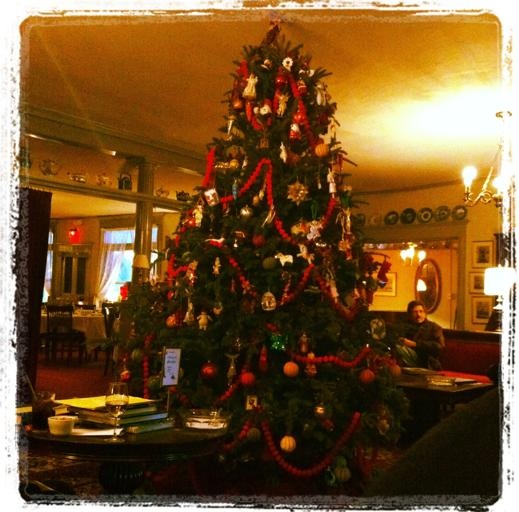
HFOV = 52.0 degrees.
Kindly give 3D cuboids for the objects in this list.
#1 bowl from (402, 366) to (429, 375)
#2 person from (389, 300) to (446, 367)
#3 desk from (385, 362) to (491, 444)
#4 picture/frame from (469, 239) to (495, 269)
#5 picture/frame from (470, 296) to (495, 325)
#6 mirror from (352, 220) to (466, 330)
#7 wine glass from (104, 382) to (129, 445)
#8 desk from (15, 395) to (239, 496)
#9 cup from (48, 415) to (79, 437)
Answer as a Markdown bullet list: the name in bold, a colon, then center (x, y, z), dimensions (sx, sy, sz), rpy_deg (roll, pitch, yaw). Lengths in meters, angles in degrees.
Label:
- **bowl**: center (1.299, 0.984, 4.561), dimensions (0.265, 0.075, 0.075), rpy_deg (2, 2, 12)
- **person**: center (1.605, 0.821, 5.443), dimensions (0.506, 0.712, 0.437), rpy_deg (-6, 7, 1)
- **desk**: center (1.508, 1.258, 4.407), dimensions (0.678, 0.585, 1.412), rpy_deg (1, -6, 20)
- **picture/frame**: center (3.545, -0.037, 8.487), dimensions (0.040, 0.544, 0.476), rpy_deg (8, -8, -37)
- **picture/frame**: center (3.523, 0.863, 8.425), dimensions (0.107, 0.467, 0.435), rpy_deg (6, -6, -20)
- **mirror**: center (2.357, 0.214, 7.807), dimensions (0.654, 1.787, 2.032), rpy_deg (16, -16, -42)
- **wine glass**: center (-0.464, 0.492, 1.725), dimensions (0.070, 0.170, 0.112), rpy_deg (5, -6, -16)
- **desk**: center (-0.453, 0.560, 1.806), dimensions (0.689, 0.203, 0.462), rpy_deg (4, -6, -4)
- **cup**: center (-0.615, 0.534, 1.680), dimensions (0.061, 0.042, 0.086), rpy_deg (-5, -20, 16)
